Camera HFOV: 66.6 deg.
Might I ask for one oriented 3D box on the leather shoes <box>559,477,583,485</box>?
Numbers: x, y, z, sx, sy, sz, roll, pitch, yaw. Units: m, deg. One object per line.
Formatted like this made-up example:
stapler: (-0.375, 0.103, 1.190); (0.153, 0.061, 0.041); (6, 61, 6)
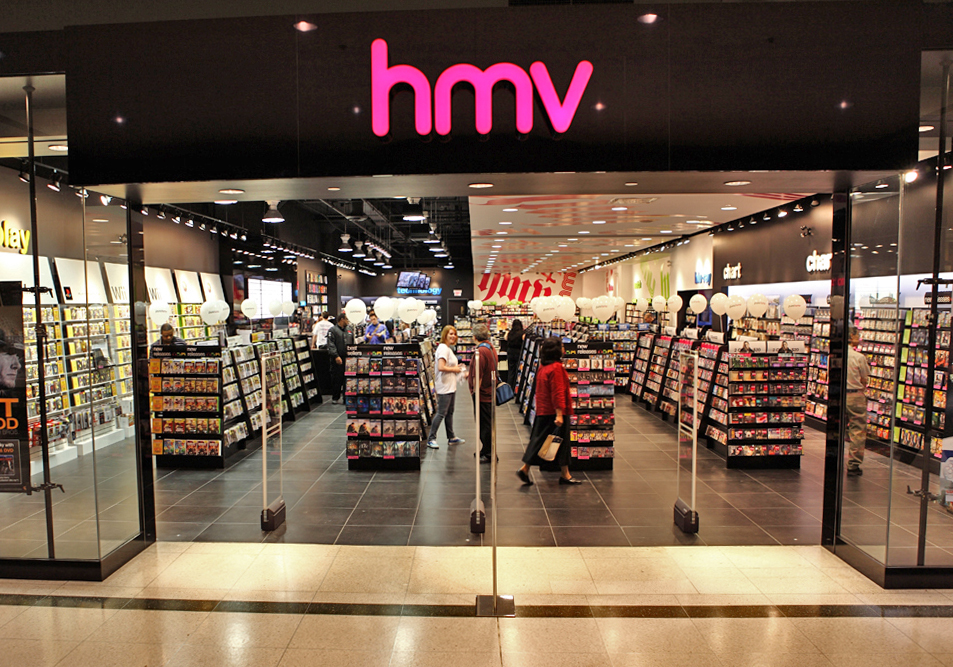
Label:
leather shoes: (1.192, 1.889, 9.211); (0.312, 0.116, 0.110); (1, -4, -3)

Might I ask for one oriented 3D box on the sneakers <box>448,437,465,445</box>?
sneakers: (-0.311, 1.670, 11.212); (0.195, 0.079, 0.079); (0, 4, -2)

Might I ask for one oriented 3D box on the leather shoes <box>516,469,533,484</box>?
leather shoes: (0.618, 1.849, 9.202); (0.117, 0.097, 0.273); (-30, -41, 8)

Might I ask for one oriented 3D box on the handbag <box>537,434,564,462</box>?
handbag: (0.907, 1.398, 8.885); (0.335, 0.167, 0.424); (12, 41, 17)

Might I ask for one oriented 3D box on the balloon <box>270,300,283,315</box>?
balloon: (-3.933, -0.501, 14.339); (0.263, 0.298, 0.257); (15, -1, 3)

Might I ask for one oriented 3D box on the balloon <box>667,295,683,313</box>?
balloon: (4.555, -0.678, 16.561); (0.369, 0.337, 0.411); (-9, 0, -15)

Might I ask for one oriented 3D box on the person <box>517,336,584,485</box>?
person: (0.907, 1.022, 9.008); (0.618, 1.851, 0.566); (8, 15, 35)

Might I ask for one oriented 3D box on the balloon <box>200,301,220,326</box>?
balloon: (-4.114, -0.319, 11.451); (0.354, 0.358, 0.388); (-1, 5, 45)
